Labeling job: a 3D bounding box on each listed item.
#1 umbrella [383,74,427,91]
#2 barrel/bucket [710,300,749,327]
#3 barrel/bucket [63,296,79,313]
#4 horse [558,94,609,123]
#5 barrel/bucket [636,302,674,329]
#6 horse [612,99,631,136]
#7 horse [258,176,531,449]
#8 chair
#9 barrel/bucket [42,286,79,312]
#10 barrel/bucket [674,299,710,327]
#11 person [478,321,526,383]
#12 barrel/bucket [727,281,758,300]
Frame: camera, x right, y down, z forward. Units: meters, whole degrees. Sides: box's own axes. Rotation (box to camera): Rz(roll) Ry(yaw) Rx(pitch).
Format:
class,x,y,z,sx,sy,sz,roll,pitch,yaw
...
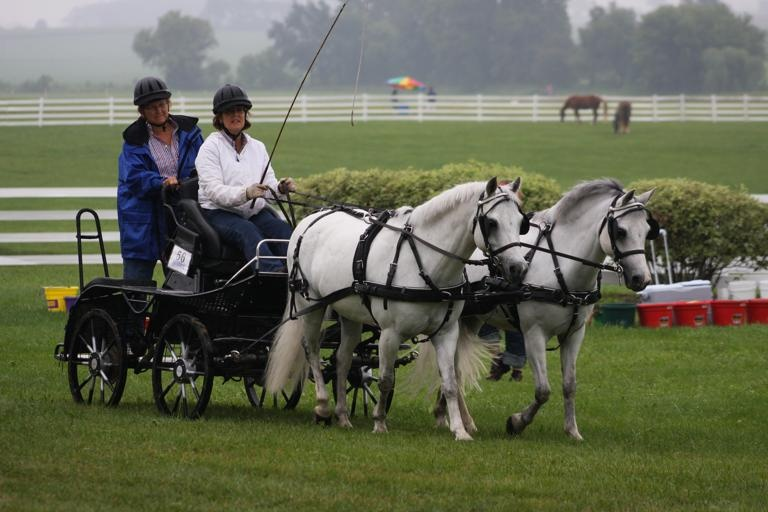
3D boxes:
class,x,y,z,sx,sy,sz,roll,pitch,yaw
umbrella,0.763,-5.501,56.786,1.205,0.445,1.378,0,1,1
barrel/bucket,8.456,1.423,42.665,0.708,0.430,0.669,1,-9,0
barrel/bucket,-7.559,1.149,41.646,0.591,0.424,0.563,-1,-5,0
horse,6.430,-4.506,55.436,1.631,0.896,1.048,0,1,15
barrel/bucket,6.662,1.483,42.383,0.854,0.514,0.599,1,-6,-7
horse,7.461,-4.166,54.141,0.490,0.984,0.439,0,2,8
horse,0.195,1.147,36.942,2.360,4.987,7.548,2,-1,-41
chair,-3.578,-0.430,37.590,2.128,2.334,2.257,3,6,-34
barrel/bucket,-7.907,1.073,42.268,0.710,0.411,0.674,1,-3,0
barrel/bucket,7.506,1.440,42.325,0.722,0.444,0.687,2,-10,0
person,2.696,2.178,39.035,1.323,1.486,0.755,6,-1,-24
barrel/bucket,8.980,0.880,43.231,0.529,0.418,0.512,0,5,0
